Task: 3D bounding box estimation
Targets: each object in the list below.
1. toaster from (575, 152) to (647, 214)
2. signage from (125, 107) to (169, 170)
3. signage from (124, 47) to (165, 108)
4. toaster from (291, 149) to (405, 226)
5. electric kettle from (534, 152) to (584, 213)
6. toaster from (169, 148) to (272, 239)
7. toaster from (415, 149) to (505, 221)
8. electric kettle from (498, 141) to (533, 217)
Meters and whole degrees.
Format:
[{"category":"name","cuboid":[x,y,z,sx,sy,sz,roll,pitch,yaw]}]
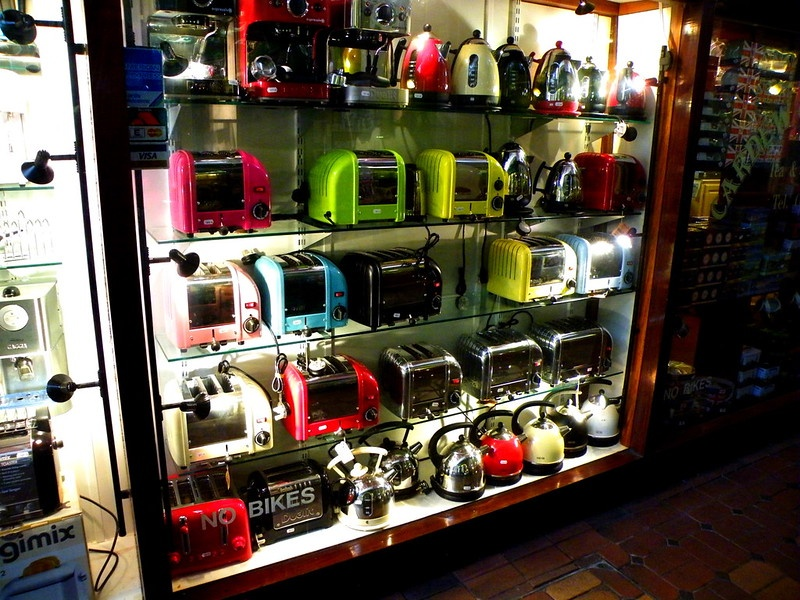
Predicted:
[{"category":"toaster","cuboid":[1.093,-0.642,3.317,0.332,0.298,0.341,-14,20,-40]},{"category":"signage","cuboid":[-0.838,-0.536,2.052,0.189,0.243,0.032,-9,19,-34]},{"category":"signage","cuboid":[-0.834,-0.724,2.035,0.123,0.188,0.041,-8,16,-18]},{"category":"toaster","cuboid":[-0.186,-0.502,2.708,0.404,0.286,0.294,-9,19,-31]},{"category":"electric kettle","cuboid":[0.812,-0.614,3.277,0.199,0.293,0.299,-9,15,-44]},{"category":"toaster","cuboid":[-0.718,-0.420,2.450,0.355,0.309,0.250,-8,21,-33]},{"category":"toaster","cuboid":[0.279,-0.545,2.934,0.427,0.314,0.312,-10,19,-31]},{"category":"electric kettle","cuboid":[0.562,-0.604,3.096,0.240,0.345,0.209,0,8,5]}]
